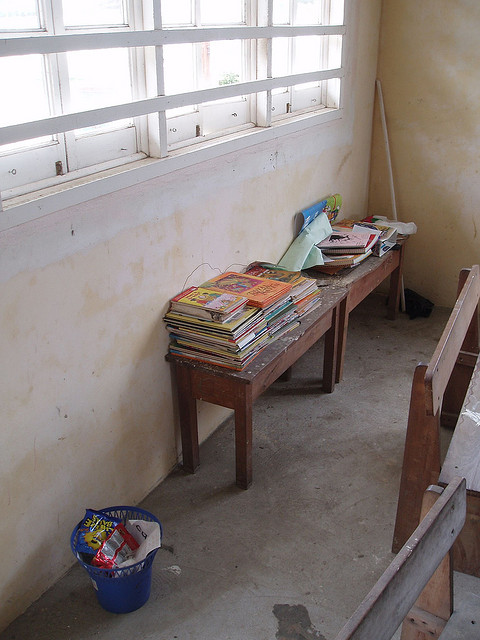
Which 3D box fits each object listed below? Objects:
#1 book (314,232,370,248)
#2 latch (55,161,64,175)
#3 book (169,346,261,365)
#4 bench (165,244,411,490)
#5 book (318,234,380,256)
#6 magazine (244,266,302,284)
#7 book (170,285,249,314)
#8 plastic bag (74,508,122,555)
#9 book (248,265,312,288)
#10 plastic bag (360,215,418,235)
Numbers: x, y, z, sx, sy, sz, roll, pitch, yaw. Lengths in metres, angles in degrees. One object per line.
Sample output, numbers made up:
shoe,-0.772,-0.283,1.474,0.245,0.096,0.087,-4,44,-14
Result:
book,0.628,-0.475,3.066,0.169,0.027,0.188,3,28,19
latch,-0.553,-0.467,1.586,0.010,0.039,0.035,7,26,17
book,-0.055,0.142,1.966,0.097,0.004,0.112,11,25,18
bench,0.196,0.232,2.366,0.214,0.378,1.101,18,43,28
book,0.606,-0.428,2.975,0.198,0.042,0.202,10,36,27
magazine,0.170,-0.215,2.474,0.136,0.033,0.141,10,23,23
book,-0.134,-0.081,1.999,0.182,0.038,0.137,15,33,21
plastic bag,-0.443,0.664,1.619,0.097,0.023,0.120,17,28,4
book,0.192,-0.210,2.456,0.162,0.039,0.167,13,18,25
plastic bag,1.069,-0.679,3.616,0.235,0.057,0.239,21,32,35
